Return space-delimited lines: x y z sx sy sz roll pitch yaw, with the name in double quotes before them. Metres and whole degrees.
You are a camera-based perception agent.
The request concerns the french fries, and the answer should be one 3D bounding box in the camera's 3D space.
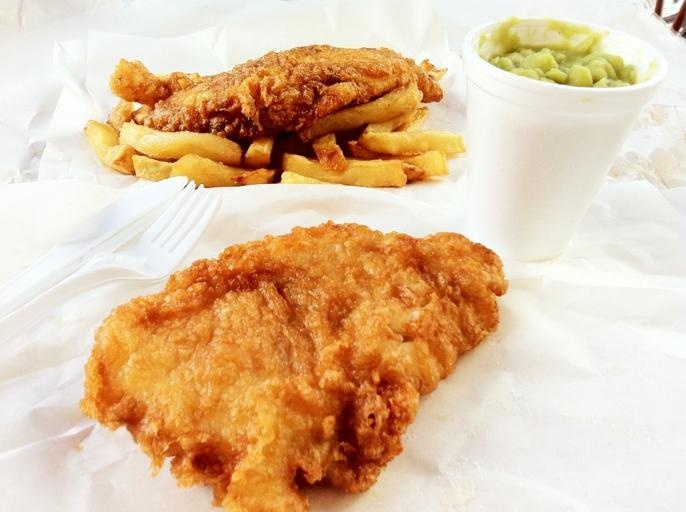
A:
"french fries" -0.311 -0.528 3.446 1.956 0.440 0.824 -4 54 3
